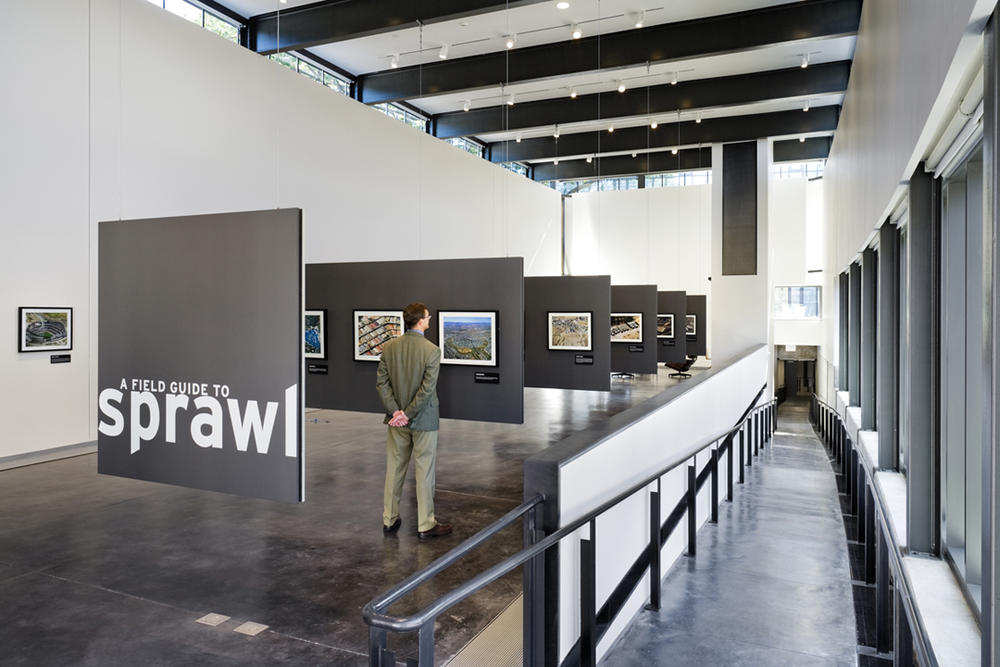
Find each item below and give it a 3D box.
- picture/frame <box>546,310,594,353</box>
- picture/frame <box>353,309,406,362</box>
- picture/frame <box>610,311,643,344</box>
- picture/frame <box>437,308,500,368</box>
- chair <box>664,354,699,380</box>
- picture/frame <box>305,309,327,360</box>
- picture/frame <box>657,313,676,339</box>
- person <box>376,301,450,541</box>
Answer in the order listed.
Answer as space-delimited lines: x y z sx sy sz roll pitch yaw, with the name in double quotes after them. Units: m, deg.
1.267 -0.026 11.867 0.714 0.601 0.055 0 -7 30 "picture/frame"
-1.564 -0.001 9.037 0.715 0.685 0.050 2 3 27 "picture/frame"
2.704 -0.101 14.493 0.679 0.587 0.074 0 -2 20 "picture/frame"
-0.371 0.057 9.193 0.796 0.690 0.058 0 1 21 "picture/frame"
5.311 1.019 19.904 0.866 0.870 1.023 -1 4 -39 "chair"
-2.634 -0.002 9.911 0.701 0.818 0.061 2 2 38 "picture/frame"
4.229 -0.184 17.366 0.678 0.682 0.177 -2 -10 35 "picture/frame"
-0.910 0.887 7.082 0.681 2.318 0.886 1 9 -10 "person"
